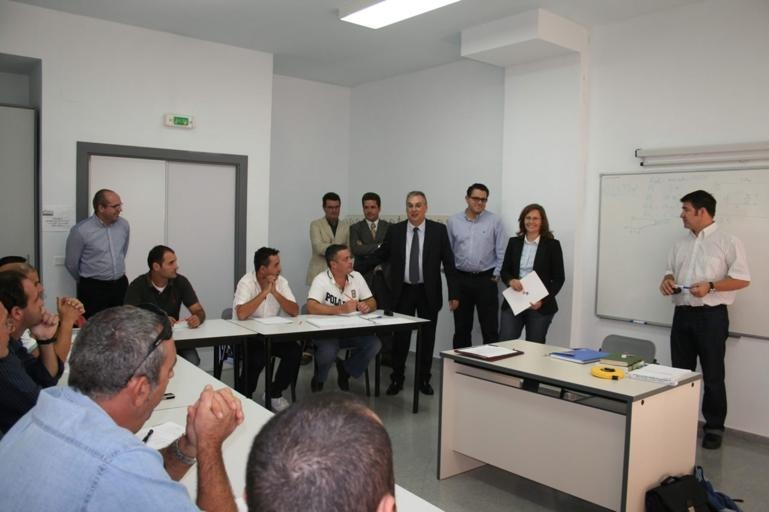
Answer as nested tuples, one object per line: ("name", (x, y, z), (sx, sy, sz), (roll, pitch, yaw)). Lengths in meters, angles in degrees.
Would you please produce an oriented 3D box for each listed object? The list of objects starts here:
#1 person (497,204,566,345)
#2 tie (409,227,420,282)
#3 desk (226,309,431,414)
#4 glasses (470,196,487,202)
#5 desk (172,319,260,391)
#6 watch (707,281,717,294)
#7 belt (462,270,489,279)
("person", (1.505, 0.198, 5.165), (0.630, 1.453, 0.570), (3, 7, 20))
("tie", (0.309, -0.005, 5.247), (0.112, 0.573, 0.098), (1, 6, 3))
("desk", (-0.442, 1.013, 4.558), (1.463, 0.839, 0.789), (-3, 1, -15))
("glasses", (1.001, -0.615, 5.456), (0.084, 0.044, 0.114), (0, -1, -10))
("desk", (-1.404, 0.753, 4.099), (0.425, 0.421, 0.431), (-2, 10, -32))
("watch", (2.715, 0.263, 4.241), (0.057, 0.092, 0.078), (2, 18, 17))
("belt", (0.979, 0.196, 5.459), (0.297, 0.073, 0.069), (2, 7, 10))
